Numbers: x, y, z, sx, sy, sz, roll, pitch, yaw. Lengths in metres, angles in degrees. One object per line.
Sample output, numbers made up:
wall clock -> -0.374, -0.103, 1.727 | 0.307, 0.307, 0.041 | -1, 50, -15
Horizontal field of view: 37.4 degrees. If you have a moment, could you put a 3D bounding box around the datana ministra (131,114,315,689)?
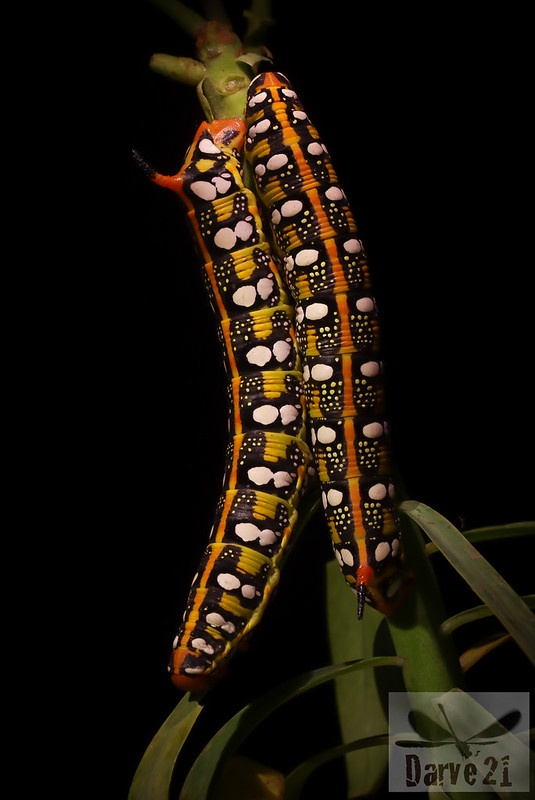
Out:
datana ministra -> -0.032, 0.000, 0.877 | 0.167, 0.572, 0.150 | -7, -7, 13

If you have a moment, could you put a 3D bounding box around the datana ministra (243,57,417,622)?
datana ministra -> 0.067, -0.067, 0.858 | 0.111, 0.580, 0.114 | -13, -3, -35
